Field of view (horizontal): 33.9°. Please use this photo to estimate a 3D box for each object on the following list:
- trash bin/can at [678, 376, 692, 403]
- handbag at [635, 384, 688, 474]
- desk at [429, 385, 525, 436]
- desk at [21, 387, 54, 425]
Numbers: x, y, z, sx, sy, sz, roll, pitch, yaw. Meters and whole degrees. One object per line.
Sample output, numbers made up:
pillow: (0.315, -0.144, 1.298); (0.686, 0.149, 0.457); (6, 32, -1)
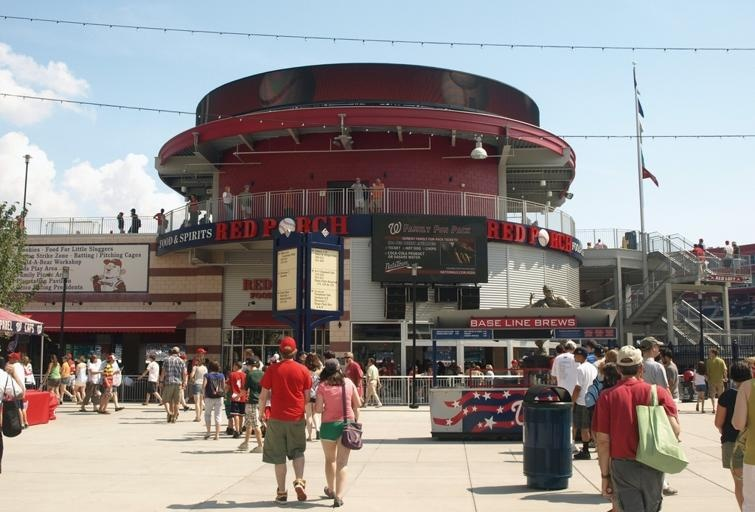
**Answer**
trash bin/can: (13.083, 5.514, 51.362); (0.913, 1.130, 0.907); (1, 0, 4)
handbag: (6.879, 4.316, 30.285); (0.981, 1.896, 0.827); (-7, 7, -13)
desk: (3.123, 4.951, 39.340); (3.327, 1.528, 1.232); (1, -10, -1)
desk: (-12.318, 5.501, 43.893); (0.918, 1.097, 1.648); (6, -18, -35)
